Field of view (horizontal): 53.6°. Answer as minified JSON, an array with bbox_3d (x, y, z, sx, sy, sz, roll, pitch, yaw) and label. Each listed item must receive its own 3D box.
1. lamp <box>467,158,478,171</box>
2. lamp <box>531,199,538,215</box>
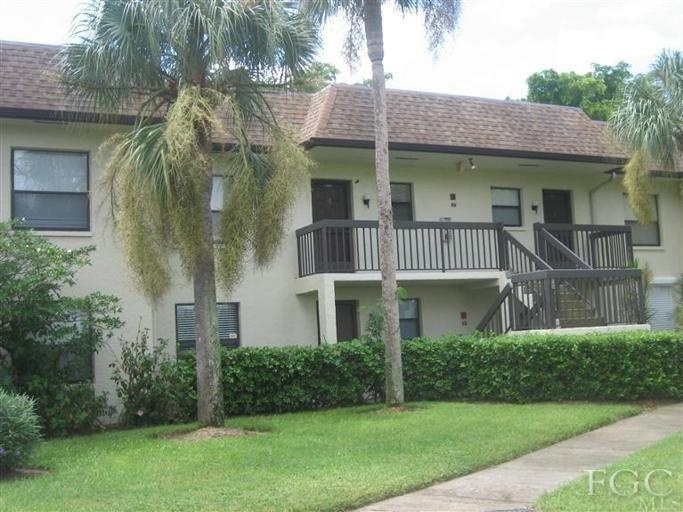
[{"bbox_3d":[3.951,-2.802,20.547,0.238,0.245,1.088,-2,-2,14],"label":"lamp"},{"bbox_3d":[6.186,-1.569,21.656,0.269,0.366,0.115,-1,-2,-22],"label":"lamp"}]
